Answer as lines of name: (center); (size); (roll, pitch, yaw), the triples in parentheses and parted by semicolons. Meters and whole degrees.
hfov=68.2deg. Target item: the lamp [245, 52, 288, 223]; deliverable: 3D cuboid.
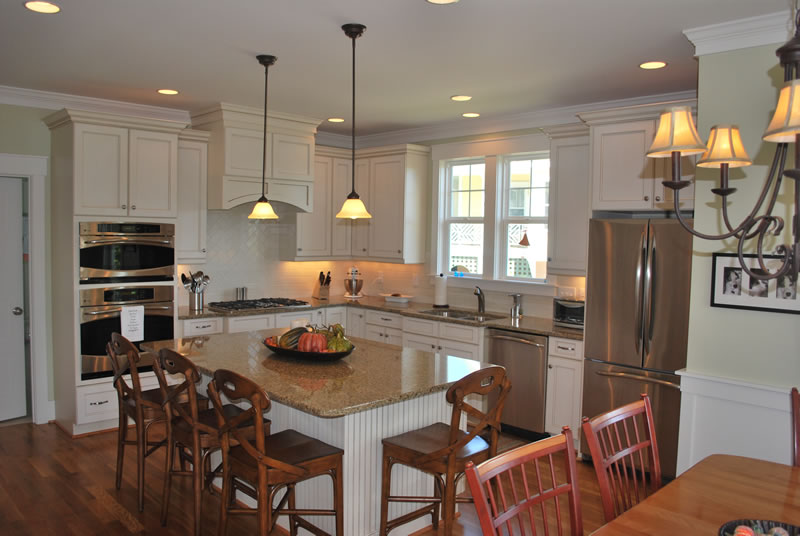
lamp: (-1.129, -1.064, 4.966); (0.315, 1.380, 0.334); (8, 8, 41)

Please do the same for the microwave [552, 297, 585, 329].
microwave: (1.619, 0.427, 5.657); (0.239, 0.284, 0.428); (0, 2, -37)

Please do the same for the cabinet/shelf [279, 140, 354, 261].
cabinet/shelf: (-0.939, -0.729, 7.317); (0.852, 1.344, 0.421); (-4, 11, -33)

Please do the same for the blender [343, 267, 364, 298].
blender: (-0.584, 0.172, 7.593); (0.258, 0.382, 0.451); (0, 11, -4)

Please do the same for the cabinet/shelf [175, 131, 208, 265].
cabinet/shelf: (-2.256, -0.654, 6.177); (0.224, 1.228, 0.630); (1, 3, 7)

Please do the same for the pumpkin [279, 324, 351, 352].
pumpkin: (-0.661, 0.489, 4.448); (0.358, 0.142, 0.270); (-2, -1, 41)

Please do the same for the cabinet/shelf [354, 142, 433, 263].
cabinet/shelf: (-0.281, -0.741, 7.276); (0.900, 1.357, 0.480); (1, -1, 19)

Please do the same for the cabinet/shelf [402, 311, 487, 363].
cabinet/shelf: (0.533, 0.742, 6.360); (0.349, 0.379, 1.084); (-2, 4, -44)

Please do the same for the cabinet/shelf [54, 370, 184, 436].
cabinet/shelf: (-2.800, 1.441, 6.186); (0.743, 0.520, 1.154); (7, -14, -30)

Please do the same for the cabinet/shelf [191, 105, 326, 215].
cabinet/shelf: (-1.315, -1.135, 6.538); (1.239, 0.988, 0.462); (8, 12, 15)

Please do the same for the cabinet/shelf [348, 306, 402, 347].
cabinet/shelf: (-0.343, 0.706, 6.908); (0.890, 0.385, 0.293); (13, -20, -38)

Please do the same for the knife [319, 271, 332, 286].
knife: (-0.929, 0.128, 7.514); (0.217, 0.081, 0.152); (-4, -34, 15)

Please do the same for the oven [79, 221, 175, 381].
oven: (-2.804, 0.279, 5.917); (0.818, 1.482, 1.004); (7, 7, 39)

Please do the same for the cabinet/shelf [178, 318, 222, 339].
cabinet/shelf: (-2.054, 0.611, 6.137); (0.349, 0.156, 0.218); (0, 0, -36)
